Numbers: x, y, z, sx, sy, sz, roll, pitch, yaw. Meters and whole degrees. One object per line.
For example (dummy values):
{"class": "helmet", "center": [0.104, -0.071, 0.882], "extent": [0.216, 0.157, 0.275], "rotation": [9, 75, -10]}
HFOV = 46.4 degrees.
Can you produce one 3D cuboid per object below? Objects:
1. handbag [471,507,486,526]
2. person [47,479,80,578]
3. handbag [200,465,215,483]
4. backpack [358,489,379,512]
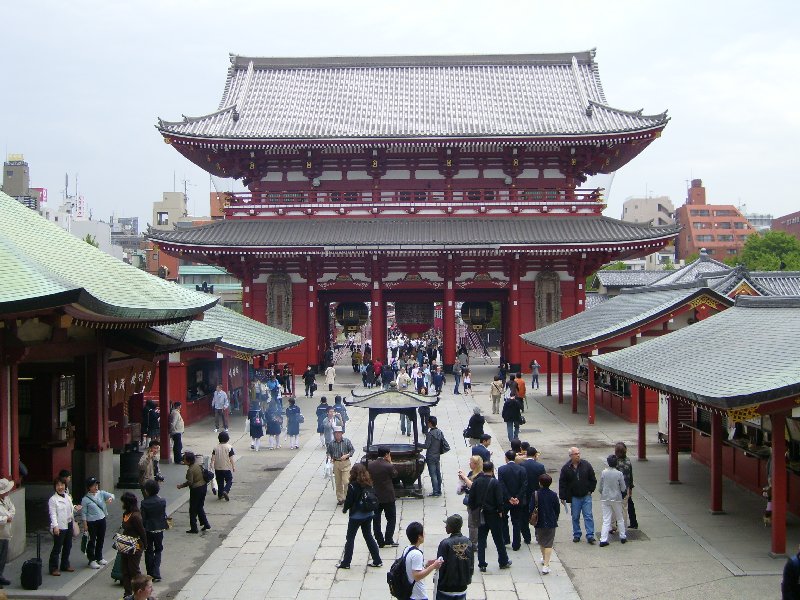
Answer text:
{"class": "handbag", "center": [1.762, 4.934, 21.269], "extent": [0.329, 0.545, 0.413], "rotation": [2, -15, -1]}
{"class": "person", "center": [-7.621, 5.107, 21.178], "extent": [0.579, 2.150, 0.922], "rotation": [0, -6, -22]}
{"class": "handbag", "center": [-4.812, 4.364, 23.445], "extent": [0.207, 0.402, 0.567], "rotation": [-2, -6, -3]}
{"class": "backpack", "center": [-0.686, 4.581, 21.332], "extent": [0.454, 0.484, 0.136], "rotation": [2, -7, -40]}
